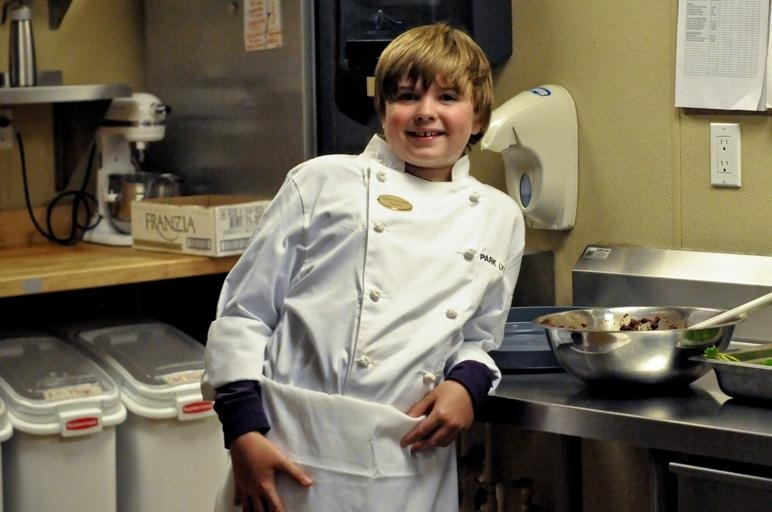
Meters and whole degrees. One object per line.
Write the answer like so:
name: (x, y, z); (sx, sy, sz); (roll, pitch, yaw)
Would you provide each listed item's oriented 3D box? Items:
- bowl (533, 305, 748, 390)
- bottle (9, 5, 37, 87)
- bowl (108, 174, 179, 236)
bowl: (0.601, 0.215, 1.848); (0.466, 0.165, 0.249); (2, 13, 11)
bottle: (-1.230, -0.706, 2.548); (0.087, 0.262, 0.136); (-8, 15, -26)
bowl: (-0.910, -0.196, 2.840); (0.207, 0.179, 0.245); (1, 2, -9)
